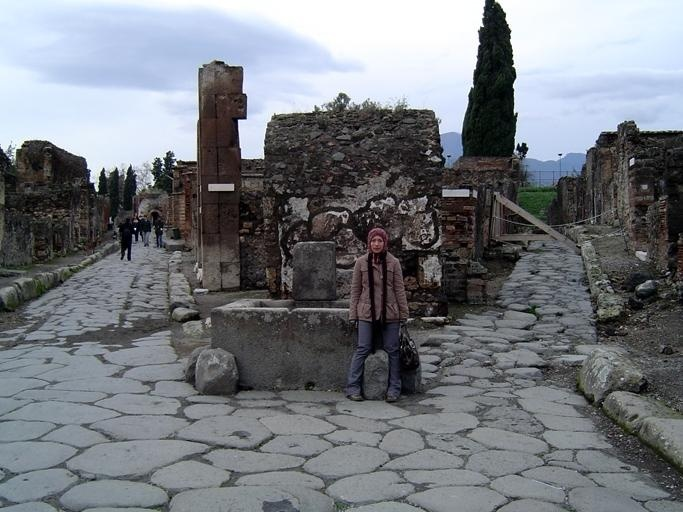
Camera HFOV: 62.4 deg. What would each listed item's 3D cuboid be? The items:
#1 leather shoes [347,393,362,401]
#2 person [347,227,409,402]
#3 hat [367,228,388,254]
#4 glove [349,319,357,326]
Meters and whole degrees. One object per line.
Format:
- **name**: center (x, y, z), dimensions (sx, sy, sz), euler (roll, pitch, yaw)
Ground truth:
- **leather shoes**: center (0.134, 1.288, 5.134), dimensions (0.057, 0.050, 0.122), euler (4, -10, -23)
- **person**: center (0.338, 0.542, 5.226), dimensions (0.537, 1.546, 0.409), euler (1, 5, 5)
- **hat**: center (0.344, -0.134, 5.433), dimensions (0.200, 0.271, 0.269), euler (0, -5, 2)
- **glove**: center (0.109, 0.622, 5.261), dimensions (0.060, 0.036, 0.059), euler (0, -3, 1)
